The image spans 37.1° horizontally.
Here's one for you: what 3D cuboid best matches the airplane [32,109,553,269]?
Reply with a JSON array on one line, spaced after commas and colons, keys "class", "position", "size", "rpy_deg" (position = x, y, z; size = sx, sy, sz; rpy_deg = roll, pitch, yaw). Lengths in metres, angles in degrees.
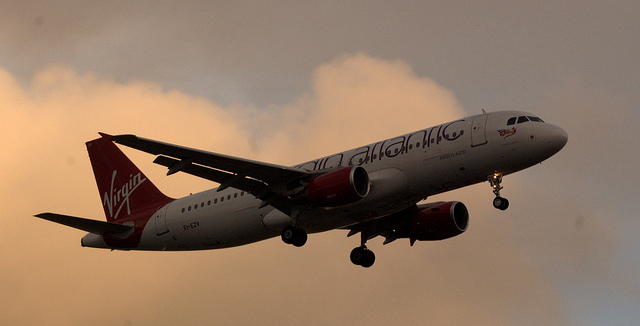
[{"class": "airplane", "position": [-1.500, 2.412, 75.583], "size": [23.611, 7.111, 20.505], "rpy_deg": [-16, -13, 14]}]
